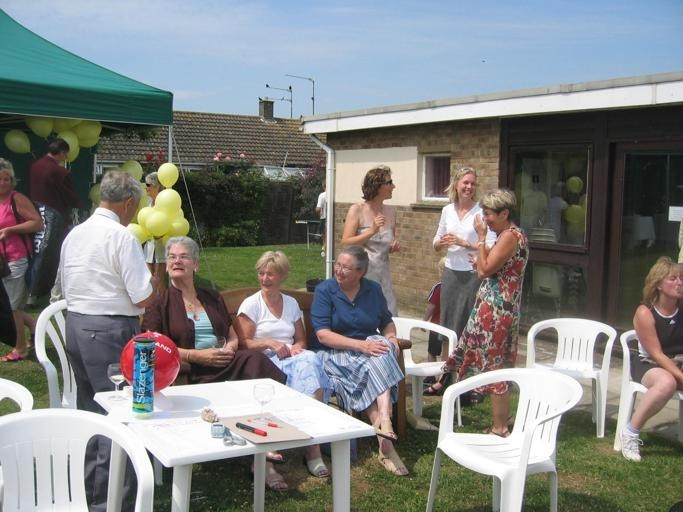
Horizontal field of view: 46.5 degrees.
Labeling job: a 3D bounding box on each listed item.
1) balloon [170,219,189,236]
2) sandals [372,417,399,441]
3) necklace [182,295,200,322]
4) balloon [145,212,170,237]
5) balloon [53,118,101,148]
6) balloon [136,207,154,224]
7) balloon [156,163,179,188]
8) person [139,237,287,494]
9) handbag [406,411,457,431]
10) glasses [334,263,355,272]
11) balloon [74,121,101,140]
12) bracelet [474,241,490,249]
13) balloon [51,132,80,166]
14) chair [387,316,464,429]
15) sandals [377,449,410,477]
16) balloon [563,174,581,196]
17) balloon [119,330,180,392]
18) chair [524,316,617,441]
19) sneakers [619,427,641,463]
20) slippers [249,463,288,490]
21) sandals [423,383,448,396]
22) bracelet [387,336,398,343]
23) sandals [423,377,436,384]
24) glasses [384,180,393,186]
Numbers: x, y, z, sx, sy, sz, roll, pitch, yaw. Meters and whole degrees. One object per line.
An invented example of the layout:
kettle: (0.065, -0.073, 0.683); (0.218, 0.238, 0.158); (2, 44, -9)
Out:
balloon: (-1.949, -0.353, 9.573); (0.171, 0.215, 0.517); (0, 7, -4)
sandals: (0.346, 1.421, 6.378); (0.176, 0.204, 0.268); (0, 6, -3)
necklace: (-1.192, 0.416, 6.326); (0.156, 0.168, 0.038); (0, -16, -42)
balloon: (-2.134, -0.320, 9.170); (0.257, 0.268, 0.310); (13, 37, -31)
balloon: (-3.315, -1.565, 10.040); (0.229, 0.355, 0.540); (20, 15, 41)
balloon: (-2.315, -0.481, 9.351); (0.185, 0.246, 0.192); (-8, 1, -14)
balloon: (-2.172, -1.016, 9.899); (0.236, 0.316, 0.343); (-1, 7, -16)
person: (-0.937, 0.818, 6.232); (1.116, 2.096, 1.032); (-8, -7, 26)
handbag: (0.755, 1.460, 7.025); (0.342, 0.148, 0.104); (-8, 4, 21)
glasses: (0.004, 0.091, 6.602); (0.083, 0.079, 0.192); (-5, 9, -44)
balloon: (-3.239, -1.597, 10.136); (0.263, 0.237, 0.218); (7, 16, -42)
bracelet: (1.237, -0.101, 6.892); (0.111, 0.033, 0.113); (4, 5, 45)
balloon: (-3.409, -1.356, 9.997); (0.267, 0.517, 0.352); (4, 12, 38)
chair: (0.737, 1.042, 7.454); (0.860, 1.170, 0.778); (0, -1, -31)
sandals: (0.410, 1.660, 6.346); (0.108, 0.107, 0.261); (-5, 5, -31)
balloon: (2.668, -0.813, 9.251); (0.170, 0.193, 0.210); (2, 12, 5)
balloon: (-1.290, 0.683, 5.403); (0.428, 0.403, 0.376); (1, -3, -29)
chair: (2.186, 1.130, 7.312); (0.942, 1.335, 0.917); (2, -3, 28)
sneakers: (2.392, 1.548, 6.589); (0.115, 0.119, 0.298); (-2, 42, 5)
slippers: (-0.537, 1.680, 6.092); (0.130, 0.103, 0.363); (-1, 6, -32)
sandals: (0.969, 1.320, 7.865); (0.305, 0.125, 0.113); (2, -1, -11)
bracelet: (0.433, 0.704, 6.736); (0.063, 0.029, 0.048); (47, -2, 12)
sandals: (0.903, 1.265, 8.121); (0.167, 0.079, 0.065); (2, -2, -12)
glasses: (0.447, -0.709, 7.596); (0.049, 0.048, 0.039); (1, -2, -30)
